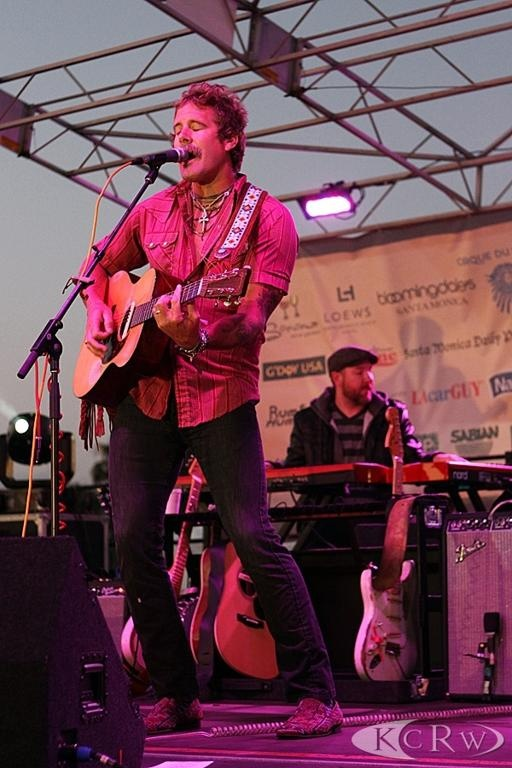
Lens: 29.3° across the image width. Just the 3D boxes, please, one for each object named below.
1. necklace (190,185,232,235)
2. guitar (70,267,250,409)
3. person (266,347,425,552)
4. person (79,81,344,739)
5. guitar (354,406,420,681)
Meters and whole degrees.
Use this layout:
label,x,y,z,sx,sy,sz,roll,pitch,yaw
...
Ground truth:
label,x,y,z,sx,sy,sz,roll,pitch,yaw
necklace,-0.139,-0.512,2.907,0.128,0.137,0.091,0,11,18
guitar,-0.323,-0.143,2.685,0.095,0.285,0.615,24,-18,-30
person,0.662,0.438,6.454,1.144,1.253,0.858,-1,4,30
person,-0.199,0.080,2.769,0.830,1.813,0.686,2,1,24
guitar,0.524,0.666,3.617,0.114,0.812,0.279,24,-24,-35
